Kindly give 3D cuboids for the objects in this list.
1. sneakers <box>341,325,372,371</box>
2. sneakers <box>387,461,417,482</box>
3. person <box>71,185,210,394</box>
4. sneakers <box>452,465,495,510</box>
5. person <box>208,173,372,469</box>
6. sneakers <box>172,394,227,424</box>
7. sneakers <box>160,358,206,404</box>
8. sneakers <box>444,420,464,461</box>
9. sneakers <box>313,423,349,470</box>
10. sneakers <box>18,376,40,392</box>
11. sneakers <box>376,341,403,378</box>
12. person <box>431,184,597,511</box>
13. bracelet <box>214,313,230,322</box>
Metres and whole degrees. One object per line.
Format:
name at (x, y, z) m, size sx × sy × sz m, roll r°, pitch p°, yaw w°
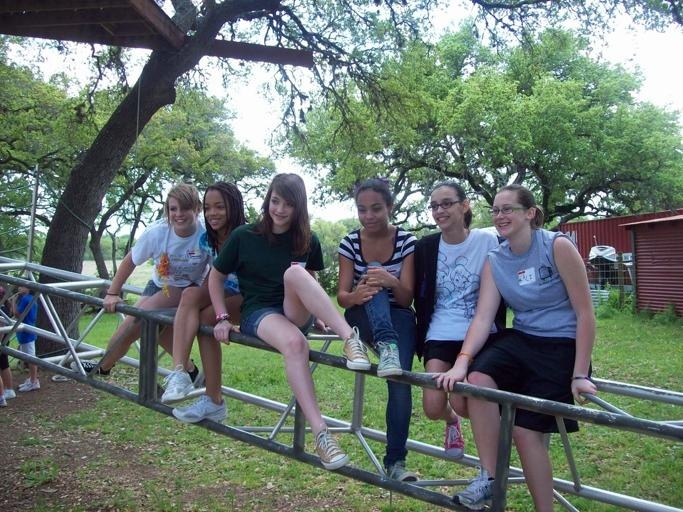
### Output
sneakers at (0.103, 0.670, 3.647) m, size 0.111 × 0.190 × 0.331 m, roll -3°, pitch -5°, yaw -9°
sneakers at (0.436, 1.595, 3.909) m, size 0.115 × 0.156 × 0.307 m, roll 10°, pitch -22°, yaw -25°
person at (-1.644, 0.290, 4.697) m, size 1.025 × 1.776 × 1.244 m, roll 18°, pitch 15°, yaw 28°
sneakers at (0.861, 1.511, 3.431) m, size 0.241 × 0.211 × 0.215 m, roll 3°, pitch 8°, yaw 15°
person at (-0.380, 0.367, 4.060) m, size 1.424 × 1.973 × 0.786 m, roll 5°, pitch 9°, yaw 31°
sneakers at (-1.082, 1.212, 4.180) m, size 0.449 × 0.215 × 0.181 m, roll 14°, pitch -12°, yaw -27°
sneakers at (-1.279, 1.003, 4.225) m, size 0.181 × 0.234 × 0.502 m, roll -19°, pitch 1°, yaw 18°
sneakers at (0.914, 1.482, 4.265) m, size 0.120 × 0.146 × 0.364 m, roll -4°, pitch -6°, yaw 7°
sneakers at (-0.098, 1.313, 3.656) m, size 0.161 × 0.184 × 0.442 m, roll -8°, pitch 4°, yaw -21°
sneakers at (-4.335, 1.782, 7.308) m, size 0.264 × 0.131 × 0.160 m, roll 5°, pitch -10°, yaw -31°
sneakers at (0.338, 0.717, 3.655) m, size 0.170 × 0.182 × 0.314 m, roll 1°, pitch 8°, yaw 4°
person at (1.251, 0.586, 3.682) m, size 1.062 × 2.134 × 0.850 m, roll -6°, pitch 10°, yaw -38°
bracelet at (-0.915, 0.479, 4.075) m, size 0.096 × 0.079 × 0.094 m, roll -1°, pitch 8°, yaw -9°
